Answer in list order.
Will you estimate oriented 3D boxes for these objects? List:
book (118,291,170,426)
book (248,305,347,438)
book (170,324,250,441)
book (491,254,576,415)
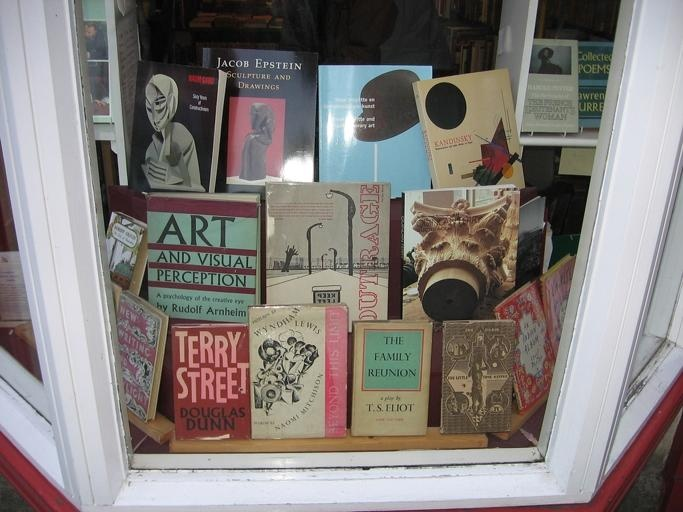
[{"bbox_3d":[-0.589,0.321,1.845,0.042,0.433,0.305,-1,10,-37],"label":"book"},{"bbox_3d":[-0.134,0.312,1.764,0.328,0.467,0.064,0,9,1],"label":"book"},{"bbox_3d":[-0.371,0.348,1.765,0.293,0.455,0.049,0,4,-1],"label":"book"},{"bbox_3d":[0.569,0.251,1.879,0.370,0.364,0.058,-26,20,-38],"label":"book"}]
